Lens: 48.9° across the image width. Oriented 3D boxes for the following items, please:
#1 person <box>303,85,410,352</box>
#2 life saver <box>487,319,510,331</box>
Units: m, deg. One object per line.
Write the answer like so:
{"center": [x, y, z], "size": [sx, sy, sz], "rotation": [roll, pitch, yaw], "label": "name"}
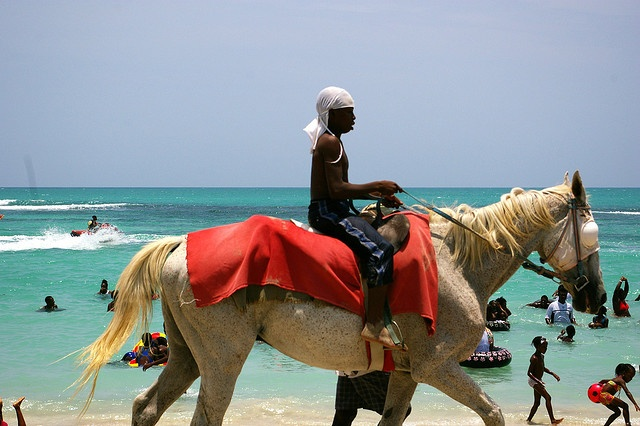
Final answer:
{"center": [0.527, 0.068, 10.717], "size": [1.300, 4.080, 0.511], "rotation": [-6, -10, -2], "label": "person"}
{"center": [5.856, 3.632, 22.955], "size": [0.458, 0.137, 0.450], "rotation": [1, -1, -23], "label": "life saver"}
